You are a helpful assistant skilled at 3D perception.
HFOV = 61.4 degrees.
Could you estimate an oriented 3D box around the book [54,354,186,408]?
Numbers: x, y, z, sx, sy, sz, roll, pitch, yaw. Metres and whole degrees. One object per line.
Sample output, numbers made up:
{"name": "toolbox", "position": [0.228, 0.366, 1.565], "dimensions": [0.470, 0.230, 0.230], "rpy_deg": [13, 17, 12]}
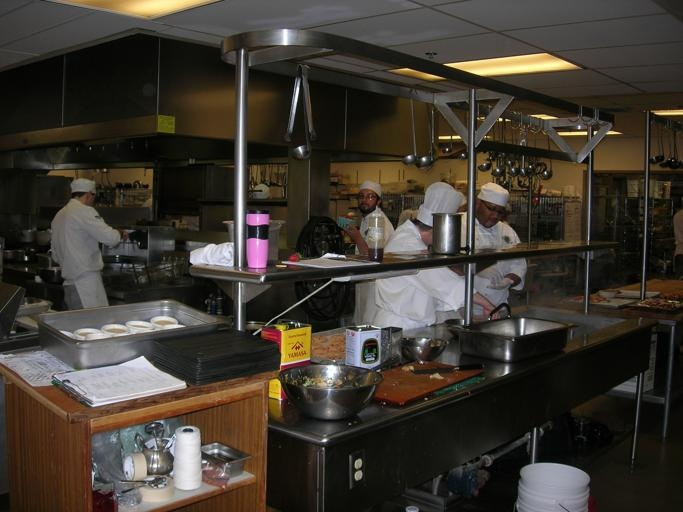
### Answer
{"name": "book", "position": [-0.738, 0.411, 1.922], "dimensions": [0.322, 0.069, 0.305], "rpy_deg": [4, 8, 42]}

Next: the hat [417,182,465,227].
{"name": "hat", "position": [0.608, -0.323, 3.411], "dimensions": [0.237, 0.238, 0.260], "rpy_deg": [-15, 29, -38]}

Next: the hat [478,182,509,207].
{"name": "hat", "position": [1.044, -0.412, 3.944], "dimensions": [0.179, 0.098, 0.177], "rpy_deg": [25, 13, 25]}

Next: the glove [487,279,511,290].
{"name": "glove", "position": [1.065, 0.188, 3.833], "dimensions": [0.198, 0.055, 0.071], "rpy_deg": [-10, -5, -39]}

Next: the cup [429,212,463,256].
{"name": "cup", "position": [0.543, -0.116, 2.947], "dimensions": [0.209, 0.190, 0.195], "rpy_deg": [3, -2, 0]}

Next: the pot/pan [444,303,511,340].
{"name": "pot/pan", "position": [0.777, 0.351, 3.142], "dimensions": [0.398, 0.162, 0.228], "rpy_deg": [-7, -5, 21]}

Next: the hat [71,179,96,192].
{"name": "hat", "position": [-2.351, -0.635, 5.299], "dimensions": [0.168, 0.112, 0.221], "rpy_deg": [4, 7, 22]}

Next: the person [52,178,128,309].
{"name": "person", "position": [-2.249, -0.124, 5.134], "dimensions": [0.471, 1.128, 0.562], "rpy_deg": [-8, 9, -42]}

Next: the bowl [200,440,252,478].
{"name": "bowl", "position": [-0.430, 0.731, 2.092], "dimensions": [0.138, 0.041, 0.095], "rpy_deg": [14, 12, 39]}

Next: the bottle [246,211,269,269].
{"name": "bottle", "position": [-0.324, -0.060, 2.204], "dimensions": [0.090, 0.215, 0.086], "rpy_deg": [-2, 7, 0]}

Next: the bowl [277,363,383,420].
{"name": "bowl", "position": [-0.049, 0.511, 2.196], "dimensions": [0.368, 0.121, 0.359], "rpy_deg": [3, 4, 0]}
